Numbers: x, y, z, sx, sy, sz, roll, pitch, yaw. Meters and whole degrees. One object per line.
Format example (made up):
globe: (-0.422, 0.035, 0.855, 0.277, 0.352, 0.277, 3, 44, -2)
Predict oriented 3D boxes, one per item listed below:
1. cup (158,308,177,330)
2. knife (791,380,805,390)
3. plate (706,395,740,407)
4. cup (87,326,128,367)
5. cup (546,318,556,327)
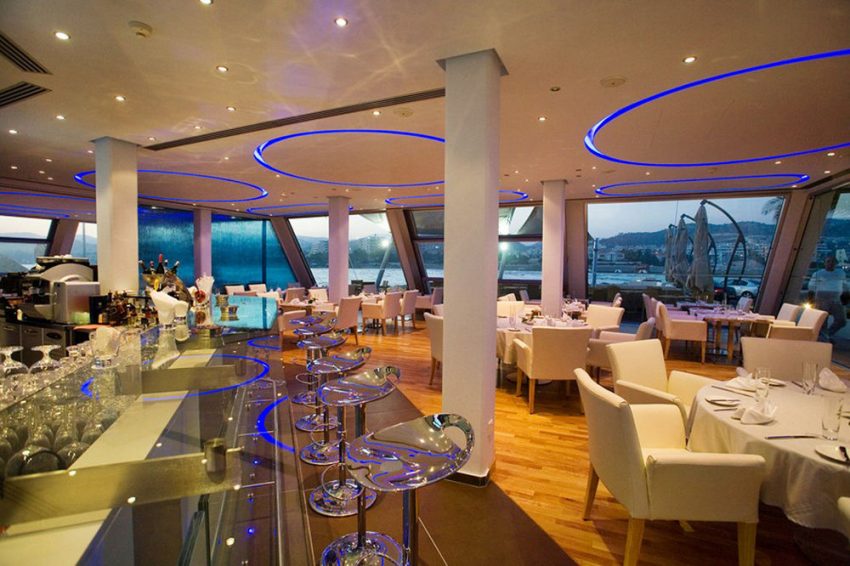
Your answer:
cup: (-2.383, 0.314, 4.974, 0.199, 0.215, 0.179, -3, 13, -27)
knife: (3.430, 0.944, 4.926, 0.044, 0.043, 0.244, 22, 16, 26)
plate: (2.545, 1.019, 4.571, 0.130, 0.019, 0.130, 8, 15, 43)
cup: (-2.373, 0.511, 4.089, 0.273, 0.334, 0.242, 1, -11, -6)
cup: (1.773, 0.552, 7.572, 0.116, 0.156, 0.163, 0, 2, 21)
